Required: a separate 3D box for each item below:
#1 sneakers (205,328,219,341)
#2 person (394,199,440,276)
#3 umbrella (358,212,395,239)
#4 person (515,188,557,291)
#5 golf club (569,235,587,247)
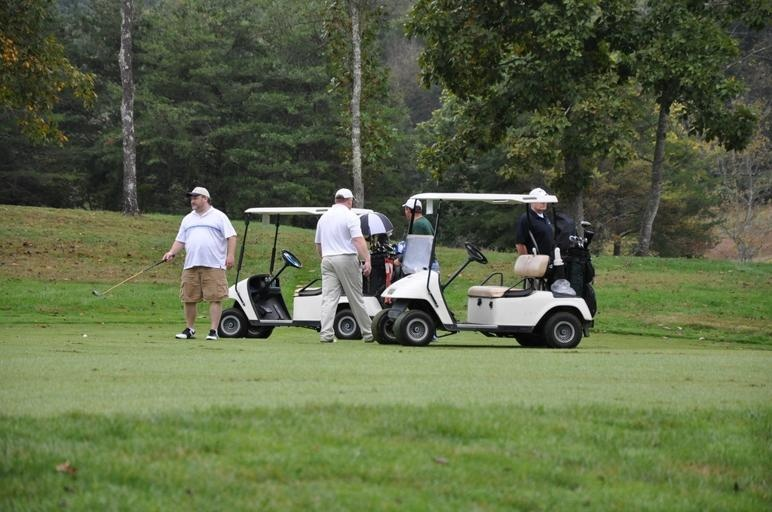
[{"bbox_3d":[-4.351,1.971,28.602,0.278,0.265,0.410,2,0,-13],"label":"sneakers"},{"bbox_3d":[0.799,-0.472,29.822,0.704,1.984,1.371,2,0,-29],"label":"person"},{"bbox_3d":[-0.291,-0.766,31.393,0.742,0.522,0.760,14,23,43],"label":"umbrella"},{"bbox_3d":[3.802,-0.321,29.427,1.003,2.339,0.475,2,0,6],"label":"person"},{"bbox_3d":[4.923,-0.354,29.534,0.348,0.137,0.352,10,6,23],"label":"golf club"}]
